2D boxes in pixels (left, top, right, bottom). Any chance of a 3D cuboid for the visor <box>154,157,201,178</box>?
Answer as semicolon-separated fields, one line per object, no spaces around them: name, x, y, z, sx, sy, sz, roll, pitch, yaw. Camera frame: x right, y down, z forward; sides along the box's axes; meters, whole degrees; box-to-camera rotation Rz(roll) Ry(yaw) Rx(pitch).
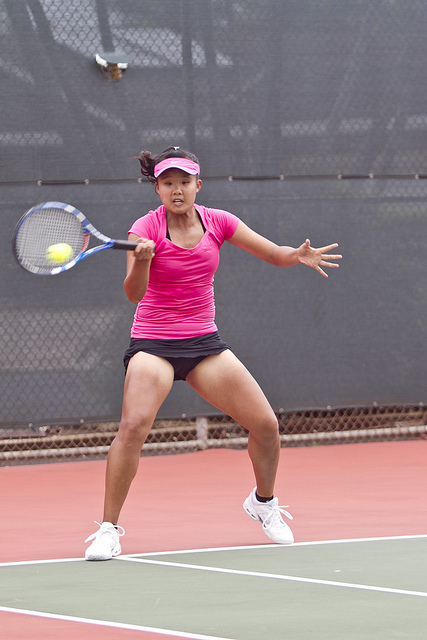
visor;-0.124;-0.509;2.269;0.151;0.087;0.135;1;34;-5

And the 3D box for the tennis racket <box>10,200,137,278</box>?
tennis racket;-0.422;-0.243;2.192;0.389;0.246;0.210;13;37;14
